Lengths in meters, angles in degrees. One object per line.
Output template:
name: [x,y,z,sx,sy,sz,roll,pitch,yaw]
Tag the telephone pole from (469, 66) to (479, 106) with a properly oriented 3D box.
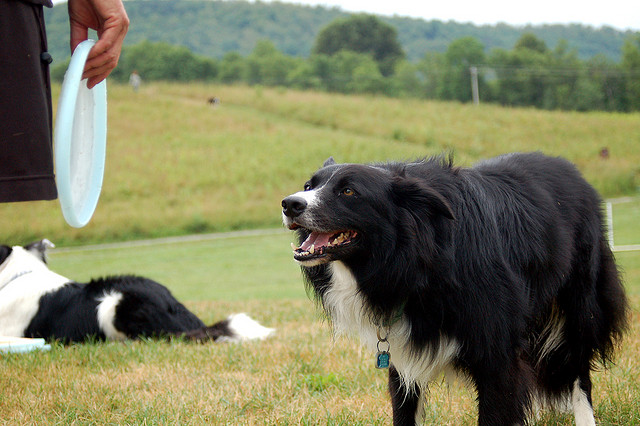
telephone pole: [4.169,-3.426,26.557,0.212,1.039,0.453,-1,8,3]
